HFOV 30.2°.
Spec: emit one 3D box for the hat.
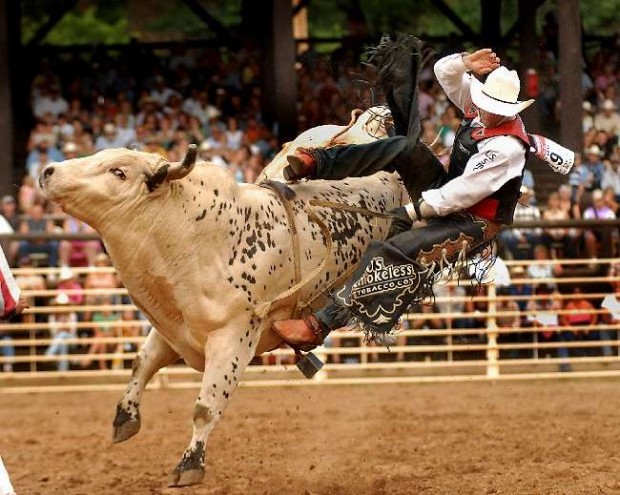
[{"bbox_3d":[1.731,-1.457,10.597,0.473,0.521,0.221,11,-42,-8],"label":"hat"}]
